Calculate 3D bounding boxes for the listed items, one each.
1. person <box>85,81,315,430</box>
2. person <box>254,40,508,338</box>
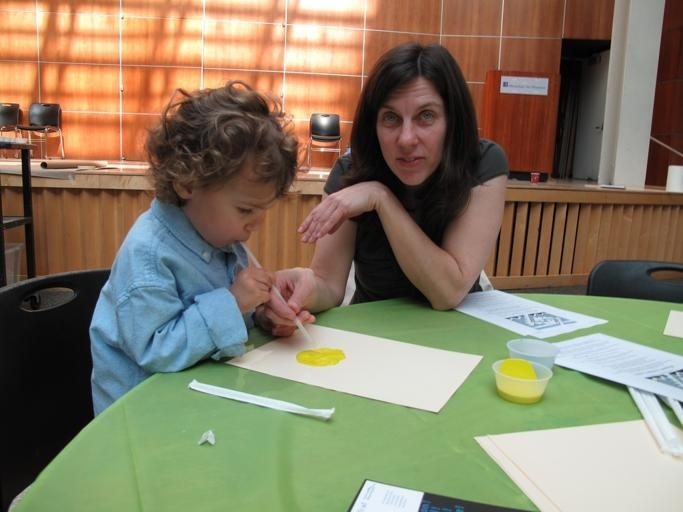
[{"bbox_3d":[-0.386,0.114,1.410,0.476,1.077,0.472,-1,21,-25],"label":"person"},{"bbox_3d":[0.167,-0.213,1.782,0.801,0.985,0.649,-6,14,-30],"label":"person"}]
